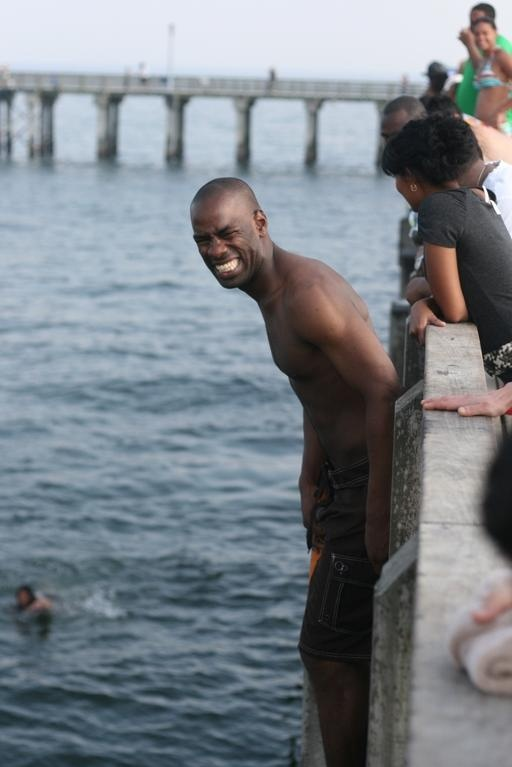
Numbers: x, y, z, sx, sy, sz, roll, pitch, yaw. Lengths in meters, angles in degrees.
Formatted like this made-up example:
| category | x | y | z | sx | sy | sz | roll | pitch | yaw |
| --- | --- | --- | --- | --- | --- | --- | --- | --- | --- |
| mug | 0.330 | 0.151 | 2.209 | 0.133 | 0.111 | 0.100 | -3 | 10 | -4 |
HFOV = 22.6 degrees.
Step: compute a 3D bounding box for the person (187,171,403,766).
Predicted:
| category | x | y | z | sx | sy | sz | roll | pitch | yaw |
| --- | --- | --- | --- | --- | --- | --- | --- | --- | --- |
| person | 0.232 | 0.371 | 5.130 | 0.505 | 2.274 | 0.870 | -10 | 15 | -19 |
